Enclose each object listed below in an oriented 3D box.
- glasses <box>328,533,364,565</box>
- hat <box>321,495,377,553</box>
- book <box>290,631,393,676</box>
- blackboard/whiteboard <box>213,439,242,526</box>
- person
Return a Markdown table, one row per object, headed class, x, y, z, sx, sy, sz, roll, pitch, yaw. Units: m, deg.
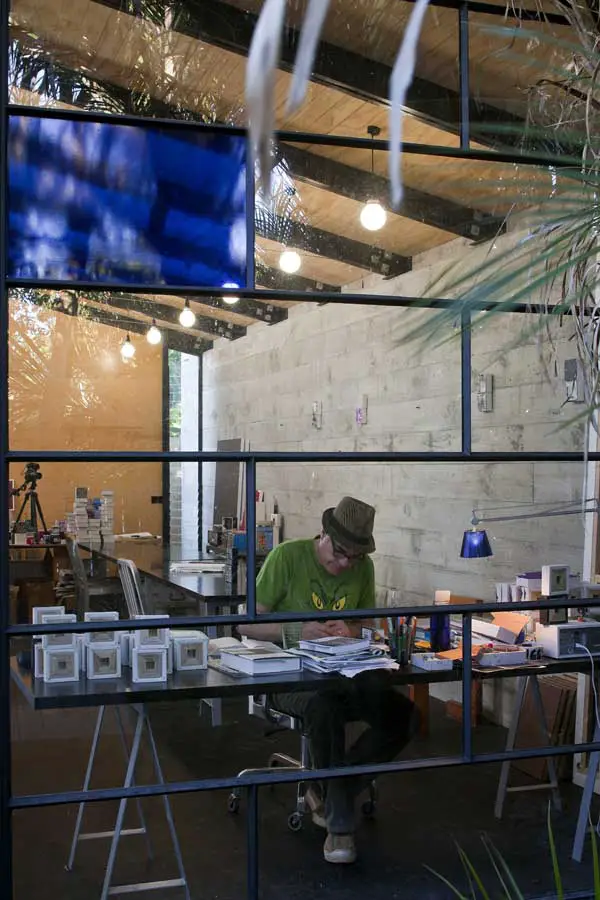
| class | x | y | z | sx | sy | sz | roll | pitch | yaw |
| --- | --- | --- | --- | --- | --- | --- | --- | --- | --- |
| glasses | 0.157 | 0.347 | 2.940 | 0.097 | 0.033 | 0.098 | 31 | 9 | -36 |
| hat | 0.163 | 0.246 | 2.952 | 0.160 | 0.103 | 0.186 | -4 | 37 | -44 |
| book | 0.139 | 0.628 | 2.625 | 0.152 | 0.057 | 0.160 | 0 | 2 | -28 |
| blackboard/whiteboard | -0.424 | 0.224 | 5.178 | 0.086 | 0.700 | 0.528 | 3 | -4 | -20 |
| person | 0.088 | 0.741 | 2.817 | 0.535 | 1.148 | 0.644 | -1 | 1 | -7 |
